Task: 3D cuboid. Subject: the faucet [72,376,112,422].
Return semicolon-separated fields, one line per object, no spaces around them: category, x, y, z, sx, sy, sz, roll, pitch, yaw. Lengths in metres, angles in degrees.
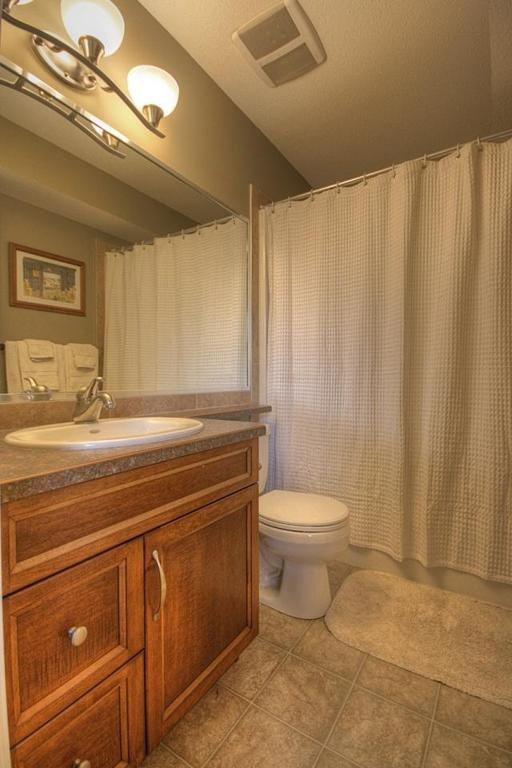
faucet;-0.473;0.048;1.544;0.103;0.134;0.235;-4;13;-19

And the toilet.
toilet;0.135;0.505;2.001;0.392;0.636;0.296;9;13;29

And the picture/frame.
picture/frame;-0.584;-0.302;1.496;0.008;0.180;0.229;-1;-1;31
